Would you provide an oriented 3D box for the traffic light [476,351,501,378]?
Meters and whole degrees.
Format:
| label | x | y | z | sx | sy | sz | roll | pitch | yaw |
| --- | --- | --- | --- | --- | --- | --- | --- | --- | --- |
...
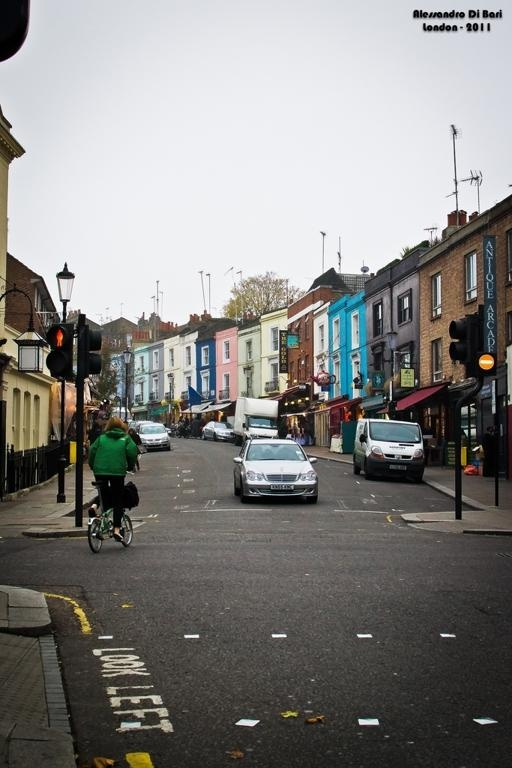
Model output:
| label | x | y | z | sx | sy | sz | roll | pitch | yaw |
| --- | --- | --- | --- | --- | --- | --- | --- | --- | --- |
| traffic light | 4.099 | -0.357 | 13.880 | 0.221 | 0.483 | 1.030 | -1 | -5 | 23 |

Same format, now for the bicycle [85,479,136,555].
| label | x | y | z | sx | sy | sz | roll | pitch | yaw |
| --- | --- | --- | --- | --- | --- | --- | --- | --- | --- |
| bicycle | -2.057 | 1.872 | 10.673 | 0.497 | 0.894 | 1.274 | -1 | 1 | 8 |

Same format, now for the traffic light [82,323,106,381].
| label | x | y | z | sx | sy | sz | roll | pitch | yaw |
| --- | --- | --- | --- | --- | --- | --- | --- | --- | --- |
| traffic light | -2.694 | -0.499 | 13.009 | 0.268 | 0.962 | 0.228 | 0 | -15 | -17 |

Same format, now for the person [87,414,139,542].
| label | x | y | z | sx | sy | sz | roll | pitch | yaw |
| --- | --- | --- | --- | --- | --- | --- | --- | --- | --- |
| person | -1.915 | 1.324 | 10.572 | 0.610 | 1.759 | 0.867 | 1 | -3 | -13 |

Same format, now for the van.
| label | x | y | z | sx | sy | sz | roll | pitch | yaw |
| --- | --- | --- | --- | --- | --- | --- | --- | --- | --- |
| van | 4.565 | 2.243 | 26.746 | 2.087 | 2.146 | 2.788 | 0 | -4 | 6 |

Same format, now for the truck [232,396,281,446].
| label | x | y | z | sx | sy | sz | roll | pitch | yaw |
| --- | --- | --- | --- | --- | --- | --- | --- | --- | --- |
| truck | 0.317 | 2.196 | 51.673 | 1.412 | 2.915 | 4.687 | 1 | -5 | -10 |

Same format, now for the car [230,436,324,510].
| label | x | y | z | sx | sy | sz | roll | pitch | yaw |
| --- | --- | --- | --- | --- | --- | --- | --- | --- | --- |
| car | 0.522 | 2.288 | 19.871 | 1.402 | 1.434 | 3.624 | 0 | -8 | -5 |

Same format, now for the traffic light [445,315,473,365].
| label | x | y | z | sx | sy | sz | roll | pitch | yaw |
| --- | --- | --- | --- | --- | --- | --- | --- | --- | --- |
| traffic light | 3.527 | -0.769 | 13.560 | 0.354 | 0.853 | 0.685 | 0 | -4 | 15 |

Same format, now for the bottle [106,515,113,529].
| label | x | y | z | sx | sy | sz | roll | pitch | yaw |
| --- | --- | --- | --- | --- | --- | --- | --- | --- | --- |
| bottle | -1.957 | 1.854 | 10.606 | 0.060 | 0.220 | 0.238 | 0 | -4 | 3 |

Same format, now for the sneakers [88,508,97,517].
| label | x | y | z | sx | sy | sz | roll | pitch | yaw |
| --- | --- | --- | --- | --- | --- | --- | --- | --- | --- |
| sneakers | -2.151 | 1.699 | 10.363 | 0.082 | 0.144 | 0.392 | 1 | -4 | -11 |

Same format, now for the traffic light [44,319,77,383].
| label | x | y | z | sx | sy | sz | roll | pitch | yaw |
| --- | --- | --- | --- | --- | --- | --- | --- | --- | --- |
| traffic light | -3.292 | -0.612 | 13.231 | 0.443 | 1.008 | 1.273 | 1 | -4 | -14 |
